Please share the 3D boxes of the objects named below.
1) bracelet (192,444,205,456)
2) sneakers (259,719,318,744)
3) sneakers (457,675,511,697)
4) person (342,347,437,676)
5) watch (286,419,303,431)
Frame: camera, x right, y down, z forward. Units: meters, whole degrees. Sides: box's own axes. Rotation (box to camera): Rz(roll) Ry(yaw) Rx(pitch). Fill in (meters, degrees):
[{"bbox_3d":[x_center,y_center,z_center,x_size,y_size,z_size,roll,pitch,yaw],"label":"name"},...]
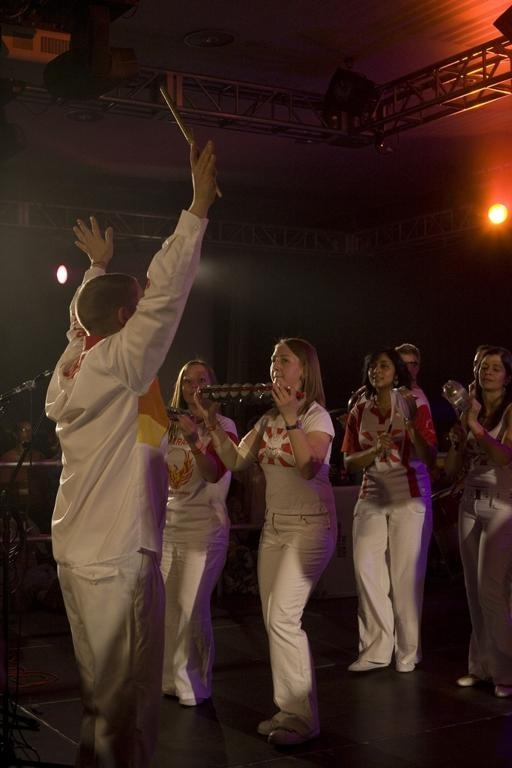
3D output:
[{"bbox_3d":[-0.293,0.320,3.651,0.032,0.067,0.051,-33,42,-11],"label":"bracelet"},{"bbox_3d":[0.148,1.561,3.312,0.263,0.081,0.130,8,-5,-4],"label":"sneakers"},{"bbox_3d":[1.244,1.657,4.066,0.274,0.078,0.184,-8,-36,38],"label":"sneakers"},{"bbox_3d":[0.827,0.762,4.646,0.596,1.998,0.495,-3,-7,16],"label":"person"},{"bbox_3d":[0.167,0.180,3.213,0.069,0.036,0.066,-5,9,20],"label":"watch"}]
